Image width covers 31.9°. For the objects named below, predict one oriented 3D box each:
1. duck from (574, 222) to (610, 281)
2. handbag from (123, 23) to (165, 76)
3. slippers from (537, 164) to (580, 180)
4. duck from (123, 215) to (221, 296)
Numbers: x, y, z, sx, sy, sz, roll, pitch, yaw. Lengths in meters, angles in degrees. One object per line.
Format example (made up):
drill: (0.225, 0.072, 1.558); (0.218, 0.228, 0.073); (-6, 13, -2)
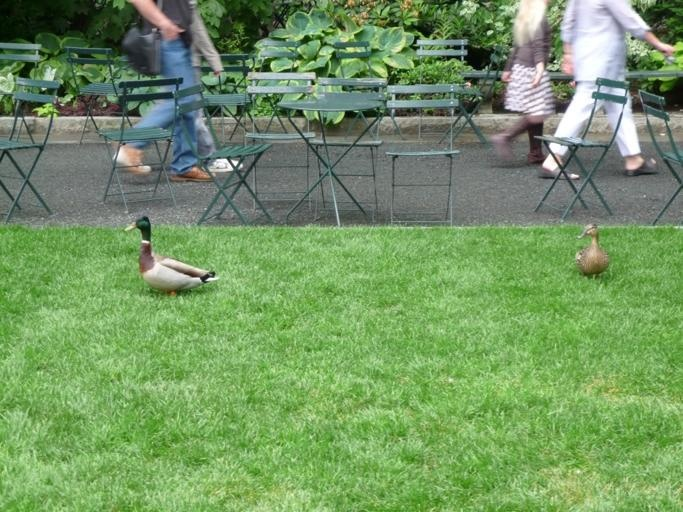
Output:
duck: (2.285, -0.055, 10.834); (0.302, 0.437, 0.357); (2, 21, 11)
handbag: (-2.161, -2.224, 13.121); (0.419, 0.527, 0.242); (-5, 22, -6)
slippers: (2.544, -0.957, 13.746); (0.573, 0.208, 0.191); (0, 7, 0)
duck: (-1.473, 0.005, 10.523); (0.707, 0.662, 0.334); (-2, 22, -1)
